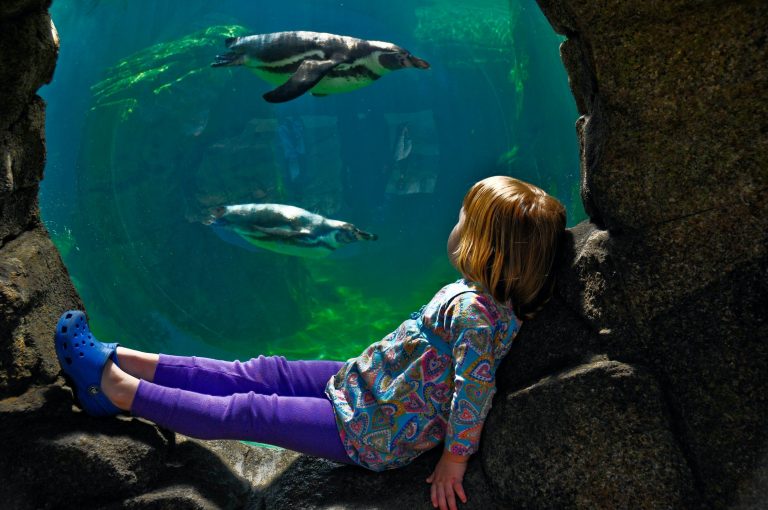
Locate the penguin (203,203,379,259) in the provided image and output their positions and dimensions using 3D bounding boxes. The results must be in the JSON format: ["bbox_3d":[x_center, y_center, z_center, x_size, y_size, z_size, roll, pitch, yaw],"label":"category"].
[{"bbox_3d":[-1.117,-0.268,9.283,1.388,0.684,0.428,14,72,-16],"label":"penguin"}]

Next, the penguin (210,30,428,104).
[{"bbox_3d":[-0.745,-2.044,9.127,1.828,0.760,1.394,19,26,31],"label":"penguin"}]
